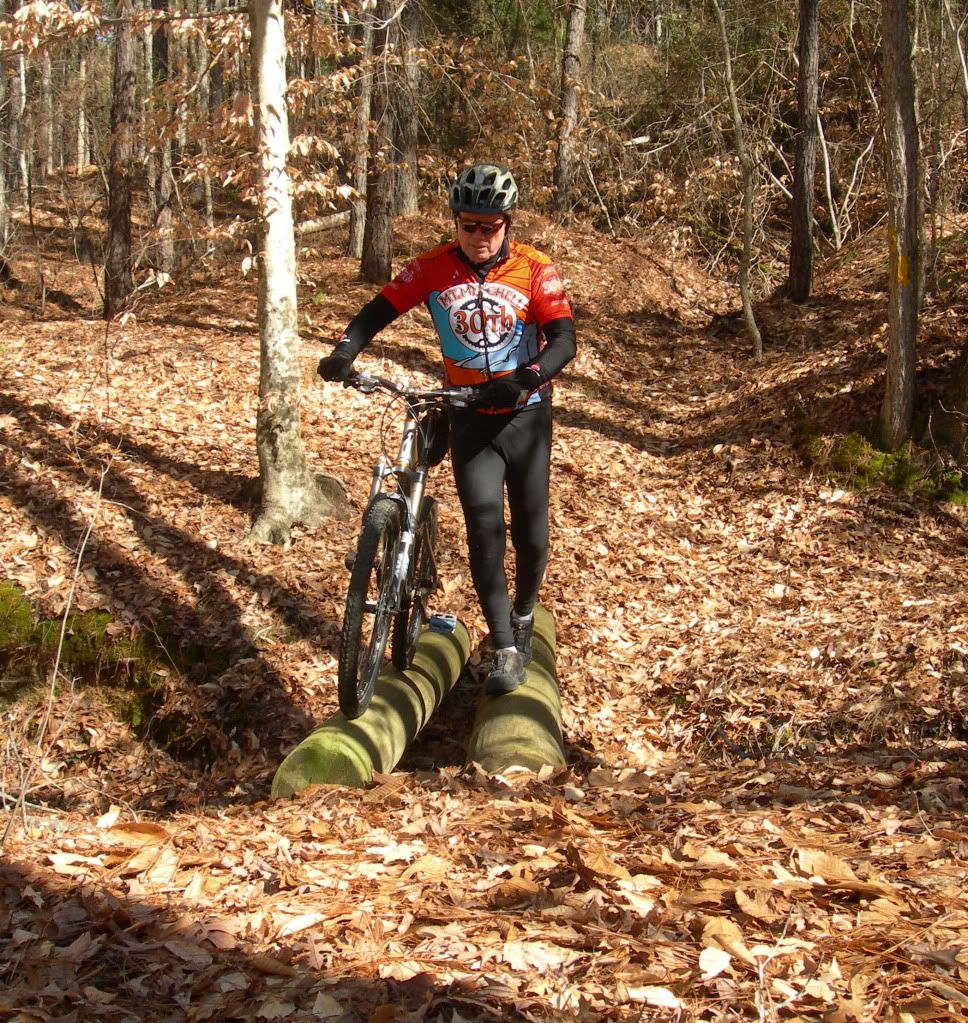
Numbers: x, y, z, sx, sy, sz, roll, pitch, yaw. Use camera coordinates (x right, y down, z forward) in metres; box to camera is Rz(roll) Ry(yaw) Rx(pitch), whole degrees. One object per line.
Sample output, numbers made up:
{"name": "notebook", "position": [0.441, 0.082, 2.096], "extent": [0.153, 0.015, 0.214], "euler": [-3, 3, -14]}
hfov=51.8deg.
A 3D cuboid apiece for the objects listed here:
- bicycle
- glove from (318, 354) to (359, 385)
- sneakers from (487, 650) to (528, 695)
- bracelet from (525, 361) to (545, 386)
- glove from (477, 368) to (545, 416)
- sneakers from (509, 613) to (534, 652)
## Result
{"name": "bicycle", "position": [-0.390, 0.123, 4.742], "extent": [0.605, 1.528, 1.456], "euler": [-2, 3, -7]}
{"name": "glove", "position": [-0.620, -0.618, 4.283], "extent": [0.151, 0.145, 0.106], "euler": [-23, 36, -21]}
{"name": "sneakers", "position": [0.103, 0.768, 4.860], "extent": [0.122, 0.120, 0.281], "euler": [0, 4, 9]}
{"name": "bracelet", "position": [0.205, -0.576, 4.089], "extent": [0.068, 0.091, 0.027], "euler": [1, -11, -7]}
{"name": "glove", "position": [0.107, -0.515, 4.186], "extent": [0.163, 0.086, 0.224], "euler": [-23, 7, 0]}
{"name": "sneakers", "position": [0.194, 0.608, 5.057], "extent": [0.101, 0.192, 0.194], "euler": [1, 14, 3]}
